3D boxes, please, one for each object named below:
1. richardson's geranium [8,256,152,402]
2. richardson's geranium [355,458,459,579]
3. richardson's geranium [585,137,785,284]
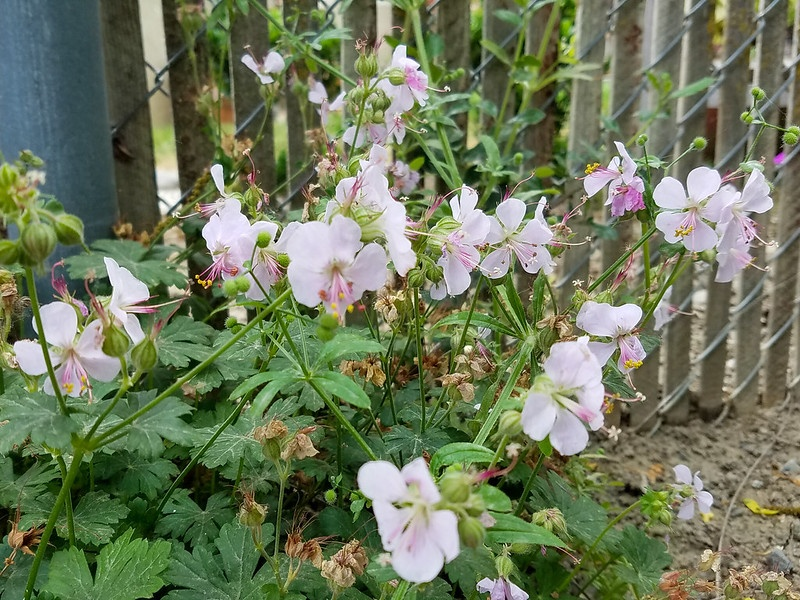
[{"bbox_3d":[-1.029,0.060,3.613,0.415,0.484,0.174,-4,11,-33],"label":"richardson's geranium"},{"bbox_3d":[0.039,0.643,3.307,0.318,0.356,0.191,17,23,29],"label":"richardson's geranium"},{"bbox_3d":[1.008,-0.311,4.036,0.655,0.454,0.312,10,21,12],"label":"richardson's geranium"}]
